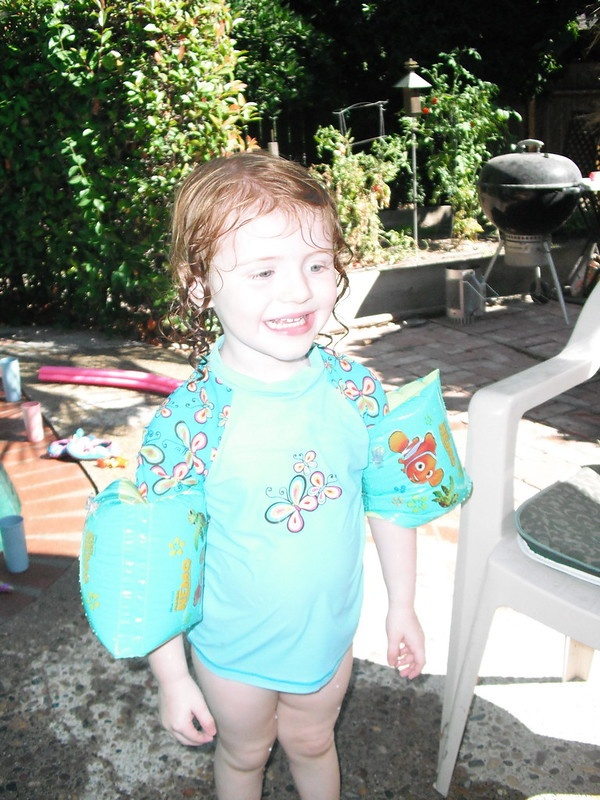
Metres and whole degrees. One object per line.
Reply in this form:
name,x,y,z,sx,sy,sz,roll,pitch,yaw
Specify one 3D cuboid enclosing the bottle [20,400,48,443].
bottle,-1.265,0.091,3.481,0.088,0.186,0.257,-7,15,-20
